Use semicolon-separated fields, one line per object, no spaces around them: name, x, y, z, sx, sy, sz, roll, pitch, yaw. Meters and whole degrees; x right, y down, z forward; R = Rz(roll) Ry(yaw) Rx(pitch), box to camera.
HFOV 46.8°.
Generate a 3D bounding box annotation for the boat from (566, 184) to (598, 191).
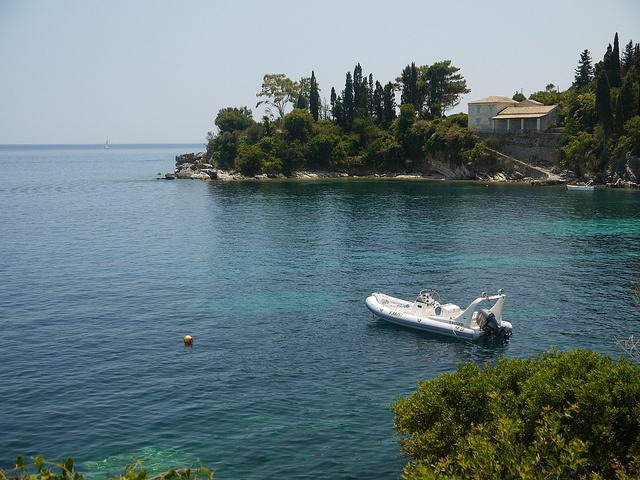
boat;47.474;-9.371;135.147;4.588;0.847;7.051;3;9;14
